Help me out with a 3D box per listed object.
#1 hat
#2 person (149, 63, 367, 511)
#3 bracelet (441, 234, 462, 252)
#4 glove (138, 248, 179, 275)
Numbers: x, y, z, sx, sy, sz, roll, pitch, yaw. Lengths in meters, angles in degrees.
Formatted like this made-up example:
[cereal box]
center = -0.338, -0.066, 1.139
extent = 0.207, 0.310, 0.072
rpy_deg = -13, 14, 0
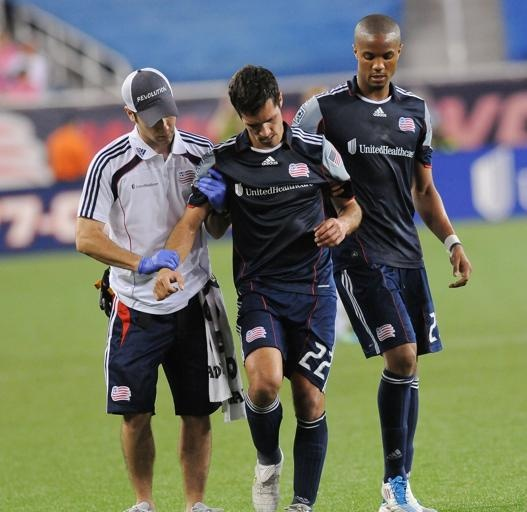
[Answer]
[hat]
center = -0.610, -0.846, 4.986
extent = 0.223, 0.201, 0.384
rpy_deg = -19, 50, -8
[person]
center = 0.176, 0.139, 4.827
extent = 0.749, 2.191, 0.716
rpy_deg = -4, 12, -8
[bracelet]
center = 1.113, -0.086, 5.372
extent = 0.086, 0.101, 0.087
rpy_deg = -31, 4, -12
[glove]
center = -0.546, 0.025, 4.844
extent = 0.184, 0.084, 0.116
rpy_deg = -14, 26, 18
